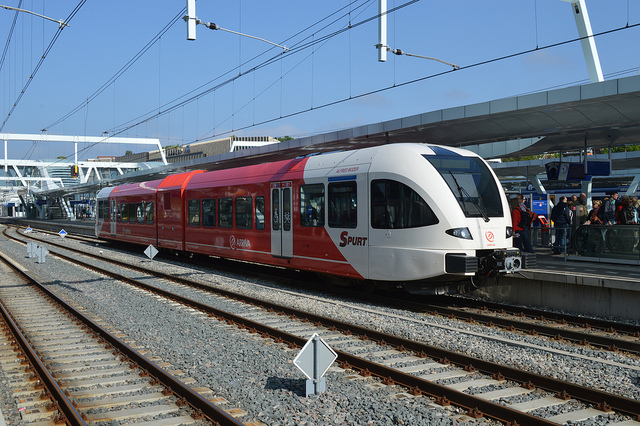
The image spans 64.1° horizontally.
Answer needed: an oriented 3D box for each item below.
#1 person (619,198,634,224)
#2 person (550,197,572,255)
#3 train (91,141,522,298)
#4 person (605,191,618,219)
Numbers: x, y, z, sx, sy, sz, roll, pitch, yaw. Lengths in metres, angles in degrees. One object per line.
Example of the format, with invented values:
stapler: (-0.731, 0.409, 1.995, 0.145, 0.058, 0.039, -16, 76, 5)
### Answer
person: (9.480, -0.094, 15.967, 0.408, 0.721, 0.244, -3, 0, 28)
person: (8.031, 0.400, 17.240, 0.642, 1.795, 0.940, -3, 0, 22)
train: (-4.556, 0.256, 22.754, 2.964, 4.340, 27.133, -3, 0, -39)
person: (9.662, -0.269, 17.112, 0.572, 0.826, 0.251, -3, 0, -34)
